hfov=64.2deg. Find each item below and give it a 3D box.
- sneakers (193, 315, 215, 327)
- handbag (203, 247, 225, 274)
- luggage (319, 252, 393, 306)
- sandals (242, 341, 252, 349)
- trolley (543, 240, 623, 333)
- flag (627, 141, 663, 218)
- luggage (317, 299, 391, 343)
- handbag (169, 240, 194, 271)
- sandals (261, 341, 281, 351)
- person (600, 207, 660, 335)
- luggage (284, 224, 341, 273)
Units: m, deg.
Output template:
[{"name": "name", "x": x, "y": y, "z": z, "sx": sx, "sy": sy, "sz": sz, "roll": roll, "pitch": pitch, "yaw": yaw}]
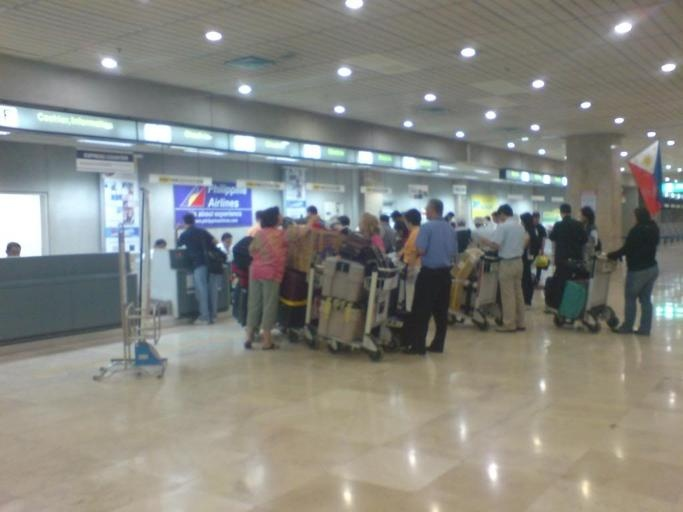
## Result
[{"name": "sneakers", "x": -2.308, "y": 1.086, "z": 9.153, "sx": 0.319, "sy": 0.154, "sz": 0.152, "roll": 3, "pitch": -2, "yaw": 2}, {"name": "handbag", "x": -2.123, "y": 0.088, "z": 9.161, "sx": 0.354, "sy": 0.605, "sz": 0.466, "roll": -2, "pitch": 6, "yaw": -16}, {"name": "luggage", "x": 0.090, "y": 0.330, "z": 6.849, "sx": 0.682, "sy": 0.437, "sz": 0.722, "roll": 13, "pitch": 1, "yaw": 35}, {"name": "sandals", "x": -1.245, "y": 1.183, "z": 7.203, "sx": 0.113, "sy": 0.118, "sz": 0.071, "roll": 6, "pitch": -8, "yaw": -2}, {"name": "trolley", "x": 3.518, "y": 0.453, "z": 7.899, "sx": 0.706, "sy": 1.030, "sz": 0.959, "roll": -3, "pitch": 8, "yaw": -31}, {"name": "flag", "x": 4.378, "y": -1.105, "z": 7.845, "sx": 0.445, "sy": 1.066, "sz": 0.632, "roll": 3, "pitch": 8, "yaw": 30}, {"name": "luggage", "x": 0.117, "y": 0.729, "z": 6.774, "sx": 0.583, "sy": 0.469, "sz": 0.642, "roll": 20, "pitch": -9, "yaw": -31}, {"name": "handbag", "x": -2.775, "y": 0.017, "z": 9.506, "sx": 0.233, "sy": 0.454, "sz": 0.495, "roll": -9, "pitch": -10, "yaw": 34}, {"name": "sandals", "x": -0.916, "y": 1.188, "z": 7.144, "sx": 0.246, "sy": 0.094, "sz": 0.088, "roll": -7, "pitch": 11, "yaw": -13}, {"name": "person", "x": 3.996, "y": 0.207, "z": 7.441, "sx": 0.551, "sy": 1.724, "sz": 0.734, "roll": 3, "pitch": 8, "yaw": 31}, {"name": "luggage", "x": -0.430, "y": -0.094, "z": 7.387, "sx": 0.813, "sy": 0.600, "sz": 0.667, "roll": 7, "pitch": 0, "yaw": 20}]
